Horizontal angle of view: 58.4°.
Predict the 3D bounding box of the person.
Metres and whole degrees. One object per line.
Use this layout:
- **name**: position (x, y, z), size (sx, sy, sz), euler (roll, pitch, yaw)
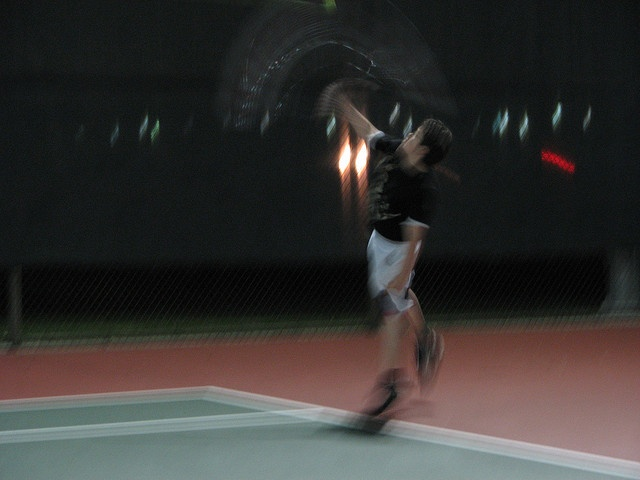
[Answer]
- **person**: position (0.535, 0.107, 4.489), size (0.656, 2.125, 1.049), euler (-3, 12, -15)
